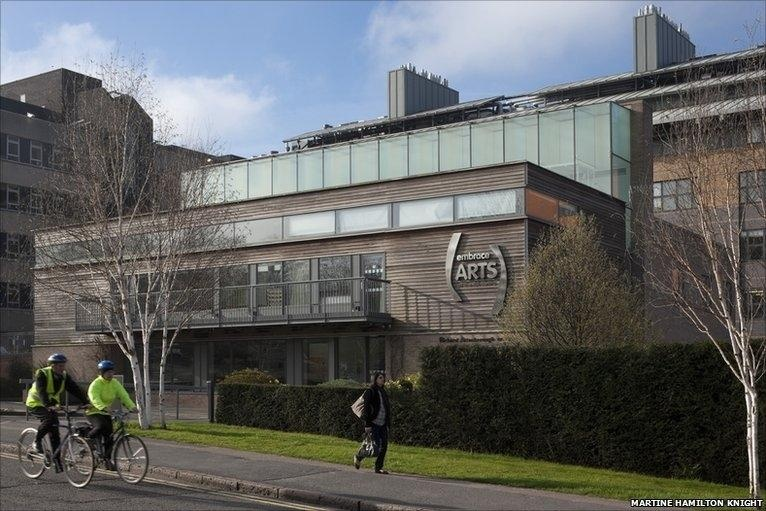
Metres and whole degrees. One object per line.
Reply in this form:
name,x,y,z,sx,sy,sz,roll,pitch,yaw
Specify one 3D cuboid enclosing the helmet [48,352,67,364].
helmet,-9.941,3.093,36.696,0.502,0.353,0.384,0,-4,19
